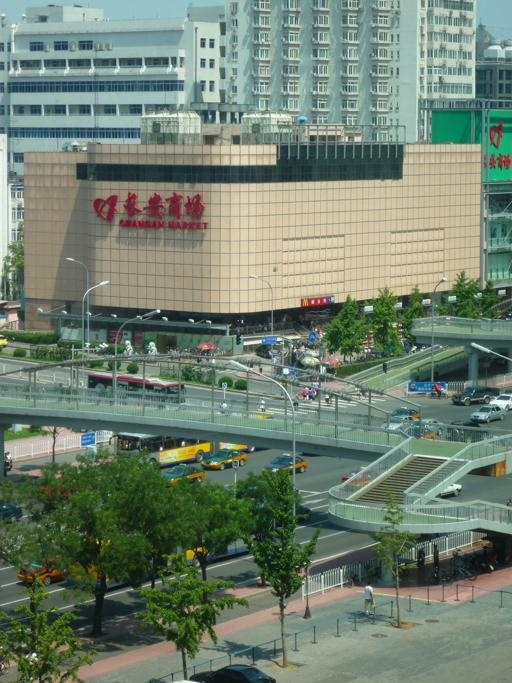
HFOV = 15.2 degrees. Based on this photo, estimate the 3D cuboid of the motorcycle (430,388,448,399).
[{"bbox_3d":[13.749,3.871,145.358,1.203,0.729,0.858,4,3,6],"label":"motorcycle"}]
